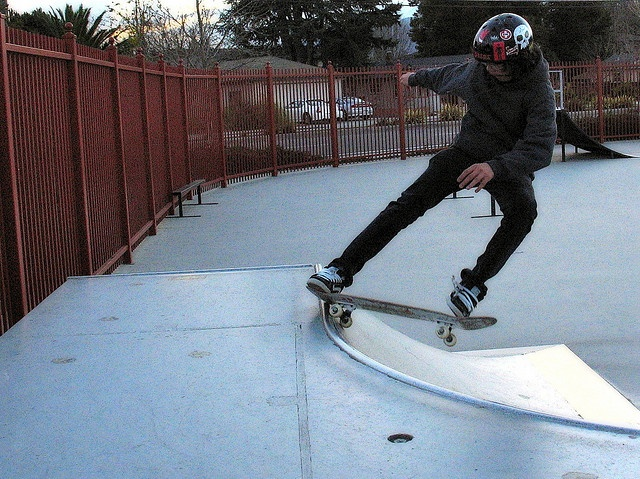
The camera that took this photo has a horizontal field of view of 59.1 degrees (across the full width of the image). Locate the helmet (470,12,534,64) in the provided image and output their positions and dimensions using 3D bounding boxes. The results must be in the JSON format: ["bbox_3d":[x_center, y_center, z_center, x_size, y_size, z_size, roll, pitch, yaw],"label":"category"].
[{"bbox_3d":[1.199,-1.309,3.685,0.440,0.313,0.343,-28,35,-34],"label":"helmet"}]

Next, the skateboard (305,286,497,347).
[{"bbox_3d":[0.609,0.562,3.960,1.236,0.178,0.311,11,-21,1],"label":"skateboard"}]
